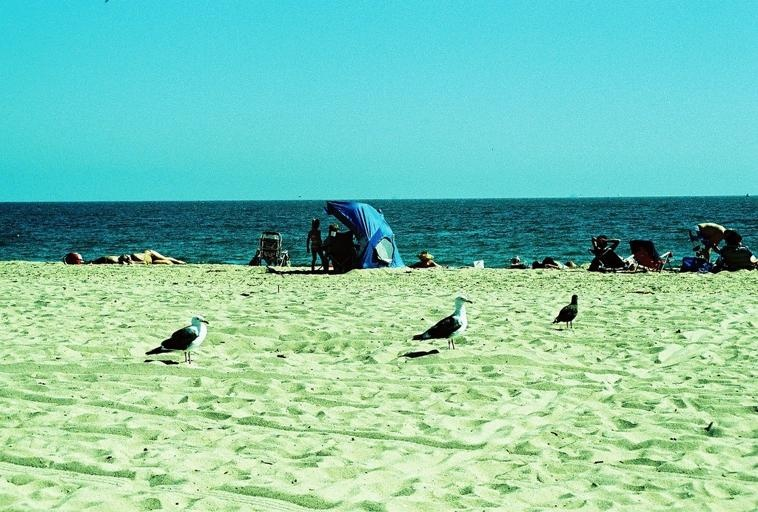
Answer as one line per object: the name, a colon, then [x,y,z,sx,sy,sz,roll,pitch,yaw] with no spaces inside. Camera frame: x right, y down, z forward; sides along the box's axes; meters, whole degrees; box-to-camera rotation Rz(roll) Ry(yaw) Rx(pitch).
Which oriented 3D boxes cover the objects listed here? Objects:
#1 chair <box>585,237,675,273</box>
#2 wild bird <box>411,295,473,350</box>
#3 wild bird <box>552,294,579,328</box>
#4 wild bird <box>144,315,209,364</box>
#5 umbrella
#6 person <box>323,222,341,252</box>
chair: [6.392,-0.077,26.087,1.954,0.871,1.182,-1,6,-10]
wild bird: [0.964,1.015,15.490,0.721,0.738,0.754,1,6,9]
wild bird: [3.009,0.926,16.290,0.668,0.522,0.242,-10,6,-31]
wild bird: [-2.976,1.218,14.800,0.836,0.634,0.624,-2,7,-16]
umbrella: [-0.344,-0.600,26.375,2.219,1.423,1.490,27,-6,-20]
person: [-1.224,-0.514,25.586,0.354,0.672,1.106,0,6,-3]
